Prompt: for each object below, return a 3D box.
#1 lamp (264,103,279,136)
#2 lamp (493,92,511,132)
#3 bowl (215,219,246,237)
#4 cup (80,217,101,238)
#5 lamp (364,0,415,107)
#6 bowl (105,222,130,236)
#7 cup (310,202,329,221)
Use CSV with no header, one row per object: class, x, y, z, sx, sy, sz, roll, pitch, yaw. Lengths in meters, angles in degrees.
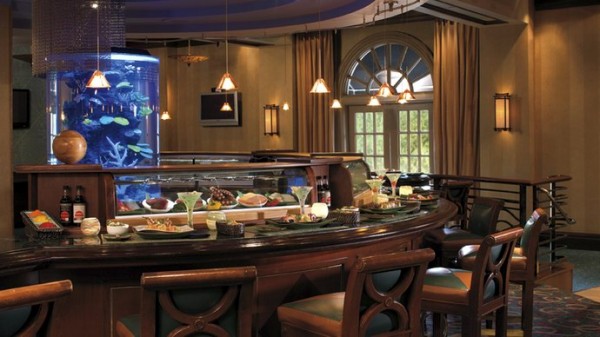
lamp,-0.752,-1.248,12.557,0.496,0.818,0.133,0,6,34
lamp,4.034,-1.127,9.734,0.326,0.753,0.168,-1,5,19
bowl,-0.706,0.603,4.930,0.226,0.073,0.171,1,0,30
cup,-2.110,0.595,4.923,0.206,0.165,0.190,1,6,0
lamp,1.828,-2.299,9.883,1.038,1.967,3.882,-2,4,9
bowl,-1.825,0.596,4.844,0.183,0.085,0.160,1,0,-28
cup,0.214,0.466,5.313,0.192,0.140,0.176,-1,9,0
